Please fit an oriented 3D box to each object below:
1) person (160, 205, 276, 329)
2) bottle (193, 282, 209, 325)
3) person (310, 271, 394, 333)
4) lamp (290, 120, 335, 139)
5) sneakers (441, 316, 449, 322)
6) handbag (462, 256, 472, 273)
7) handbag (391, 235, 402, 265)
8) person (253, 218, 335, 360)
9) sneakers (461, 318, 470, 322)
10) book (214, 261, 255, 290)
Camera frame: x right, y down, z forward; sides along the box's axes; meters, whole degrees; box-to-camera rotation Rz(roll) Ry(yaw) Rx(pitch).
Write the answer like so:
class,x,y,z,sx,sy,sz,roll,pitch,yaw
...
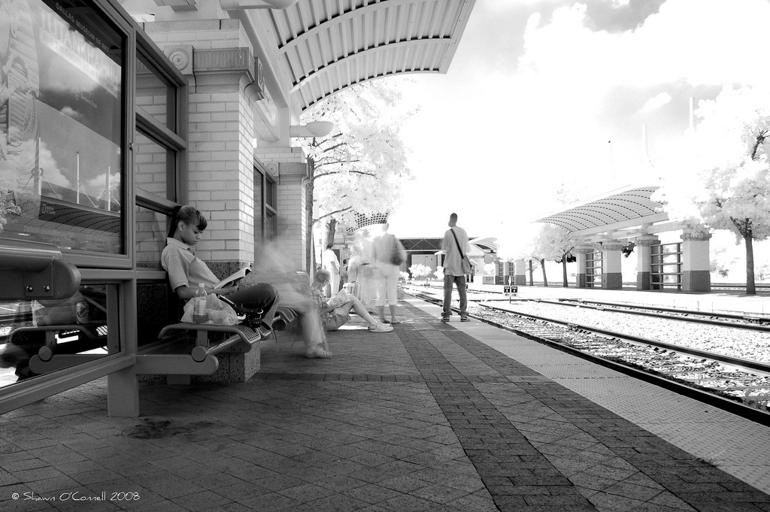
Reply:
class,x,y,z,sx,sy,sz,roll,pitch,yaw
person,-1.834,0.084,5.337,1.217,1.251,0.714,2,2,26
bottle,-1.914,0.478,5.141,0.130,0.346,0.319,0,2,-21
person,-0.694,0.915,10.442,1.863,1.202,0.744,5,3,-14
lamp,-1.707,-2.997,11.485,0.609,0.497,1.293,-1,2,-29
sneakers,1.477,1.496,12.120,0.128,0.081,0.128,1,-4,-8
handbag,1.961,0.195,11.898,0.208,0.491,0.953,1,2,9
handbag,0.313,-0.132,10.909,0.247,0.631,0.368,-1,2,-30
person,-1.417,0.588,7.770,1.125,2.022,0.830,-13,-22,16
sneakers,1.966,1.512,12.065,0.074,0.086,0.201,3,-8,-35
book,-1.668,0.194,5.526,0.323,0.087,0.310,-31,1,40
